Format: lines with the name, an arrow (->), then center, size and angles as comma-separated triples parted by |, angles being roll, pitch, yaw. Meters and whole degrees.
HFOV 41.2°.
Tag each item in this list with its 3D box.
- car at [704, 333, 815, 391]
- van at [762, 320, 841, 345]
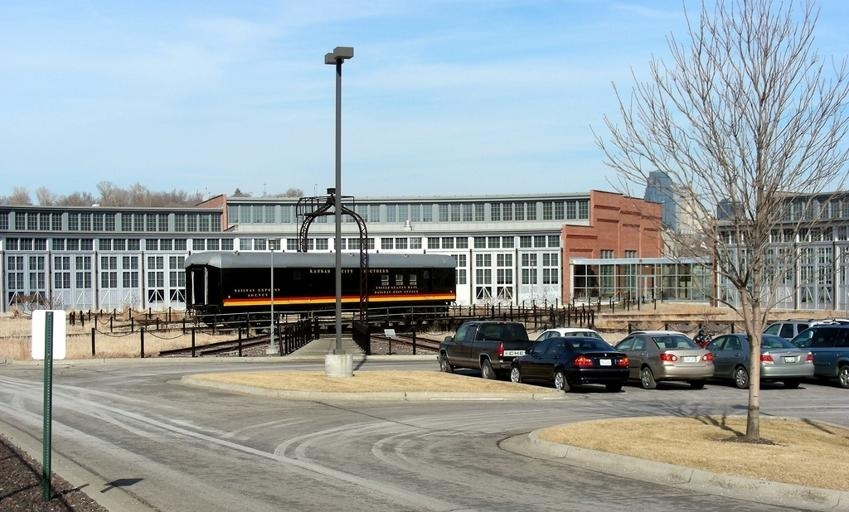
car -> 12.646, 4.107, 43.183 | 2.902, 2.169, 6.903 | 0, -1, -7
van -> 15.928, 3.081, 48.560 | 1.814, 1.205, 3.287 | -2, 3, -29
